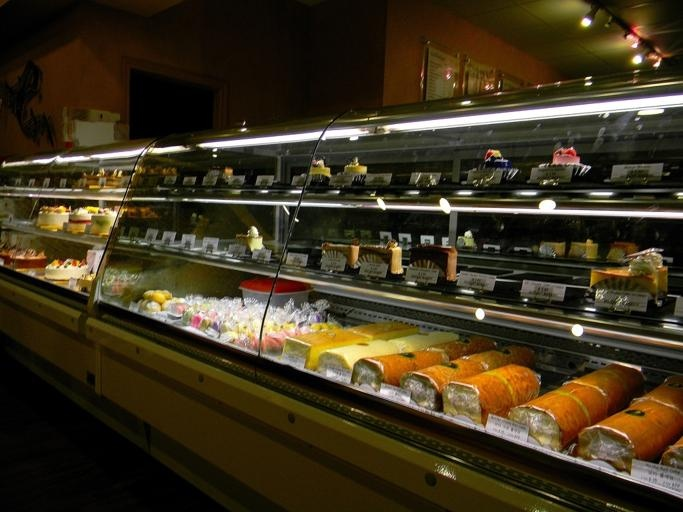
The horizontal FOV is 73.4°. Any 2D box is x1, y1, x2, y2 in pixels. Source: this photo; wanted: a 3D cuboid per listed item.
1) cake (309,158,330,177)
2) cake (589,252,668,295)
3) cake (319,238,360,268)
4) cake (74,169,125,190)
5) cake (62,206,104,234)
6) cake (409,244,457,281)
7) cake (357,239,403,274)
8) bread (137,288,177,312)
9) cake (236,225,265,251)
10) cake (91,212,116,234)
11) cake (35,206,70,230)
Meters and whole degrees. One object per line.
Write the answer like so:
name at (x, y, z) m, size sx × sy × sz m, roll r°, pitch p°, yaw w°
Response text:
cake at (-0.110, -0.444, 2.336) m, size 0.095 × 0.064 × 0.094 m, roll 0°, pitch 1°, yaw -5°
cake at (1.089, 0.076, 1.740) m, size 0.282 × 0.166 × 0.278 m, roll 2°, pitch 6°, yaw 19°
cake at (-0.012, -0.012, 2.297) m, size 0.124 × 0.071 × 0.162 m, roll 6°, pitch 10°, yaw 24°
cake at (-1.796, -0.570, 3.430) m, size 0.402 × 0.171 × 0.094 m, roll 2°, pitch -8°, yaw 34°
cake at (-2.118, -0.284, 3.741) m, size 0.273 × 0.161 × 0.270 m, roll 1°, pitch 3°, yaw -4°
cake at (0.410, 0.013, 2.101) m, size 0.193 × 0.145 × 0.118 m, roll 9°, pitch 20°, yaw 26°
cake at (0.185, 0.005, 2.220) m, size 0.187 × 0.121 × 0.139 m, roll 4°, pitch 8°, yaw 25°
bread at (-1.154, 0.284, 2.829) m, size 0.149 × 0.060 × 0.148 m, roll 3°, pitch 13°, yaw 12°
cake at (-0.520, -0.096, 2.677) m, size 0.158 × 0.149 × 0.121 m, roll 5°, pitch 6°, yaw 26°
cake at (-1.821, -0.251, 3.501) m, size 0.215 × 0.129 × 0.213 m, roll -3°, pitch 8°, yaw -27°
cake at (-2.476, -0.315, 3.974) m, size 0.267 × 0.160 × 0.265 m, roll 0°, pitch 6°, yaw 0°
